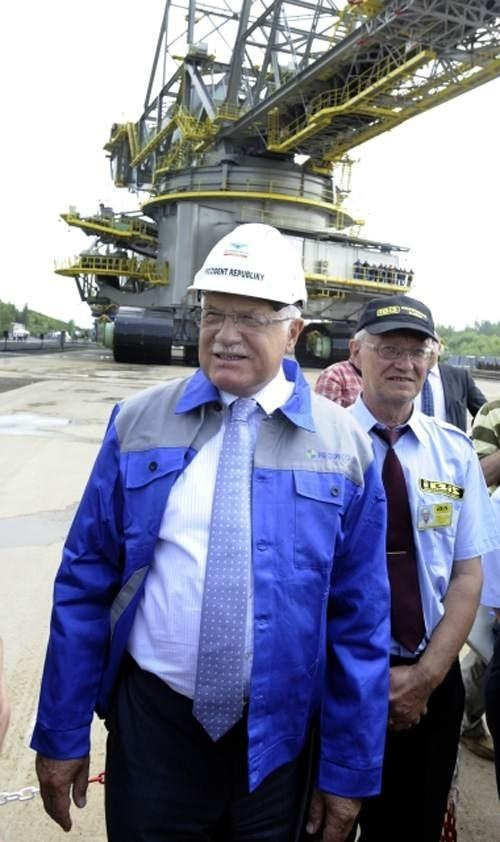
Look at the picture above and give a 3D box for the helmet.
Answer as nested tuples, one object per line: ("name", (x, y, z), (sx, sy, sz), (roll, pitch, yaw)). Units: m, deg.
("helmet", (0.028, -0.416, 2.170), (0.225, 0.173, 0.313), (14, 4, 24))
